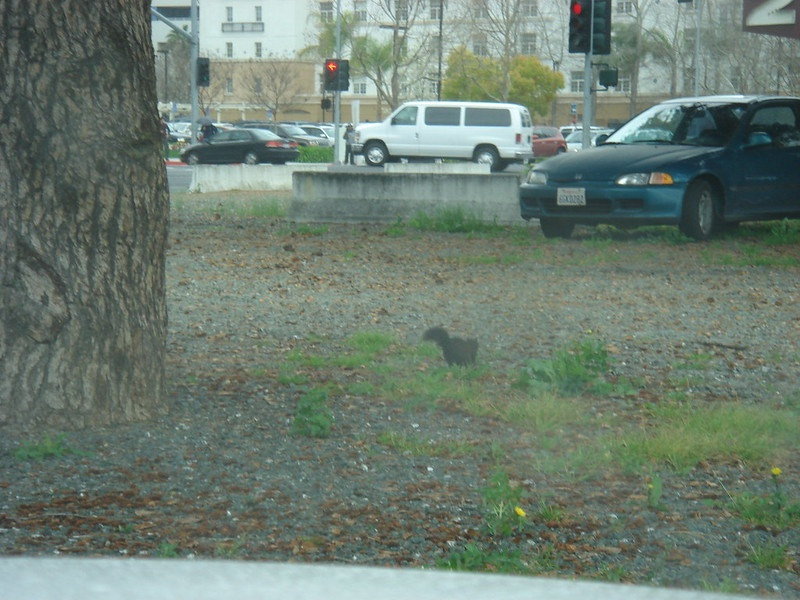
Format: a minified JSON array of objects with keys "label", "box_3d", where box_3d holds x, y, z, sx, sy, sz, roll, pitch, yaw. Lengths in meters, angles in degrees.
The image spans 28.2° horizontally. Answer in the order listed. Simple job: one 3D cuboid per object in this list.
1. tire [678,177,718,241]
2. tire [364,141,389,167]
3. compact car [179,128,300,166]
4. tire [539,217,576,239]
[{"label":"tire","box_3d":[3.241,-0.959,17.250,0.193,0.630,0.615,0,11,31]},{"label":"tire","box_3d":[-0.560,-3.482,37.307,0.703,0.758,0.265,3,2,7]},{"label":"compact car","box_3d":[-3.859,-3.771,39.223,2.532,0.857,1.196,4,11,11]},{"label":"tire","box_3d":[1.804,-0.845,18.116,0.252,0.065,0.273,6,-14,-17]}]
